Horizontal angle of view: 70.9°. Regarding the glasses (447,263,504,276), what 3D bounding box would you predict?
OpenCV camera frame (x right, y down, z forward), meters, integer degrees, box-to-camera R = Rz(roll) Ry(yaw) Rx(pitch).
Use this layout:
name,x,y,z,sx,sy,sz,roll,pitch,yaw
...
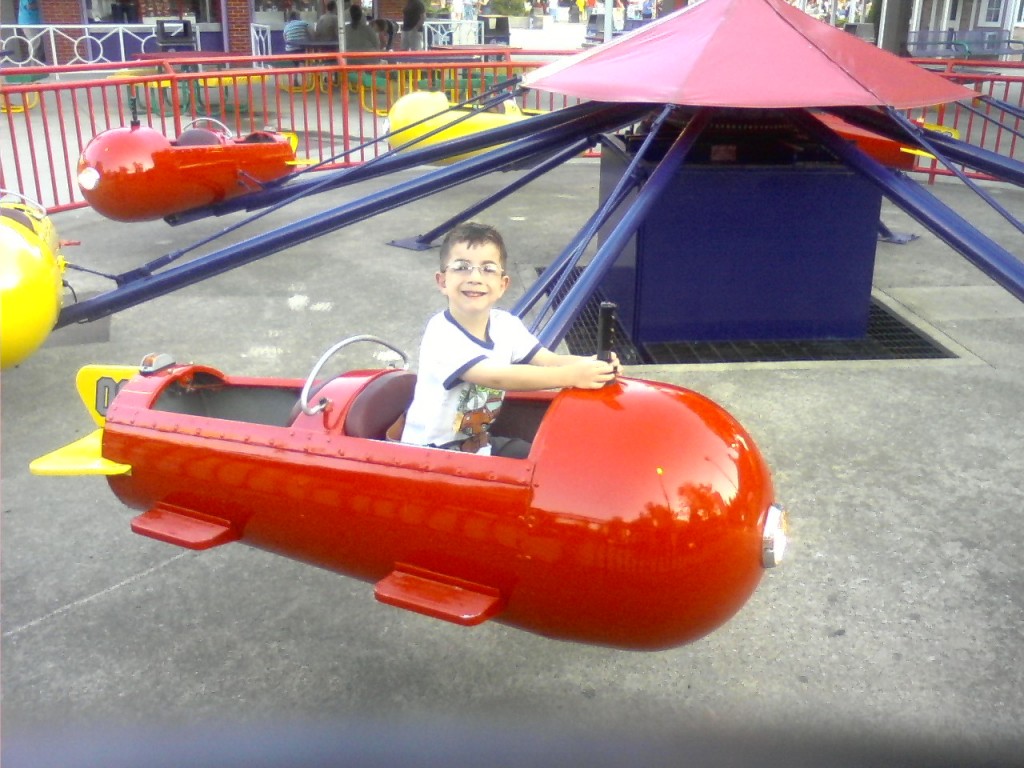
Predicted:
name,x,y,z,sx,sy,sz,roll,pitch,yaw
glasses,-0.132,-0.400,2.493,0.185,0.054,0.062,-3,24,-6

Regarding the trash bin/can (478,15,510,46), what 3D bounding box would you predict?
name,x,y,z,sx,sy,sz,roll,pitch,yaw
trash bin/can,-0.649,-12.875,26.332,0.839,0.980,2.613,-6,24,-11
